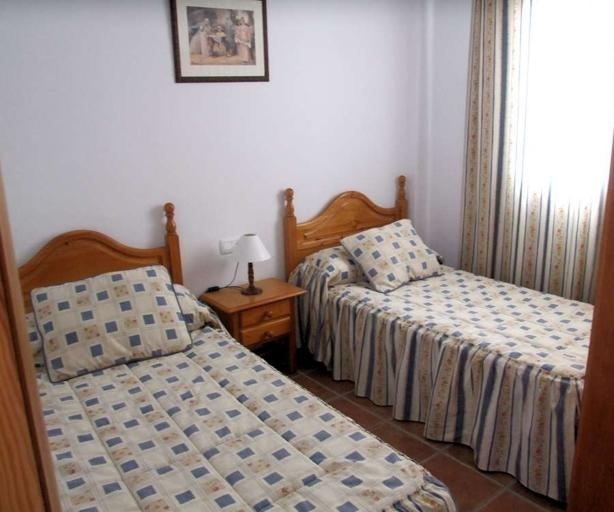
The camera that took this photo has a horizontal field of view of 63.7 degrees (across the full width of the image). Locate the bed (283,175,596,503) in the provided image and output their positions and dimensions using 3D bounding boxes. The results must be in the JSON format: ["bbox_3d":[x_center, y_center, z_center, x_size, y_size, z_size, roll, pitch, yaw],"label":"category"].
[{"bbox_3d":[0.785,0.397,3.054,1.298,1.225,1.993,-17,29,-34],"label":"bed"}]

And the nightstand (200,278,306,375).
[{"bbox_3d":[-0.329,0.325,3.302,0.683,0.651,0.484,-15,22,-40],"label":"nightstand"}]
